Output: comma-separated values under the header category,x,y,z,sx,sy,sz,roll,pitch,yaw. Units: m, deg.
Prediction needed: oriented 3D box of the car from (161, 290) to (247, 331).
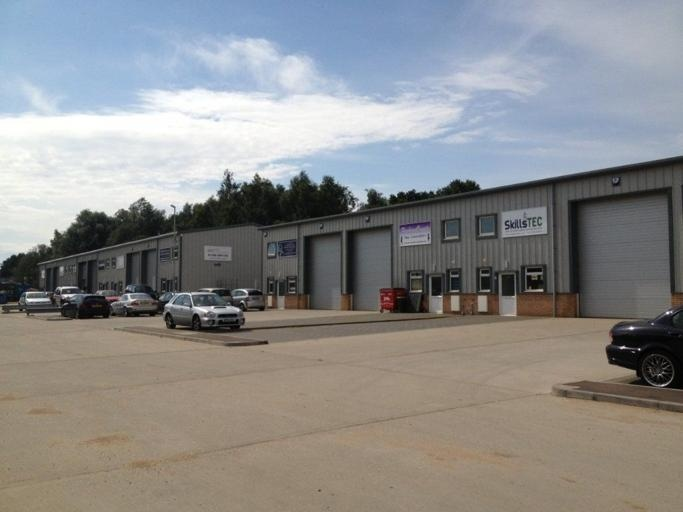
category,x,y,z,sx,sy,sz,roll,pitch,yaw
car,-6.160,2.475,23.714,3.681,1.700,1.544,-5,-4,39
